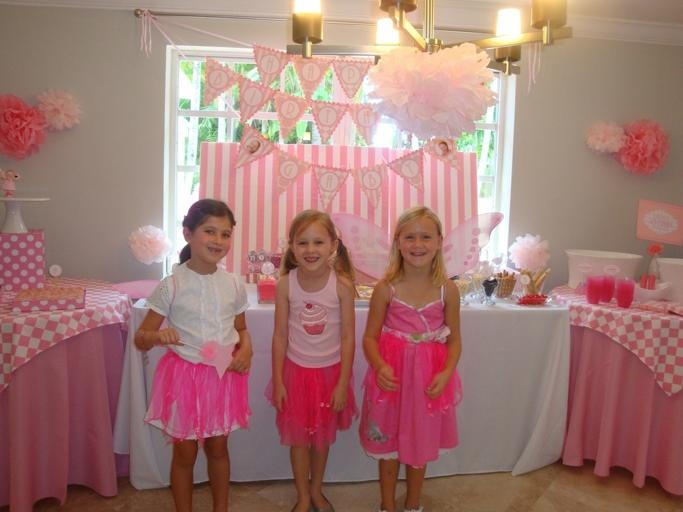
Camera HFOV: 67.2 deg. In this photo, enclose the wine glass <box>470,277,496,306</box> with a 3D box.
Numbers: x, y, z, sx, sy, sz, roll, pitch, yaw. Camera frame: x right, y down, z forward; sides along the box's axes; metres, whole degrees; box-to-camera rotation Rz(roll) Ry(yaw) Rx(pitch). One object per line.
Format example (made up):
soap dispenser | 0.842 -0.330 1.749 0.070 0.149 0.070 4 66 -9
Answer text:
wine glass | 0.767 0.193 2.815 0.126 0.166 0.160 4 -2 -16
